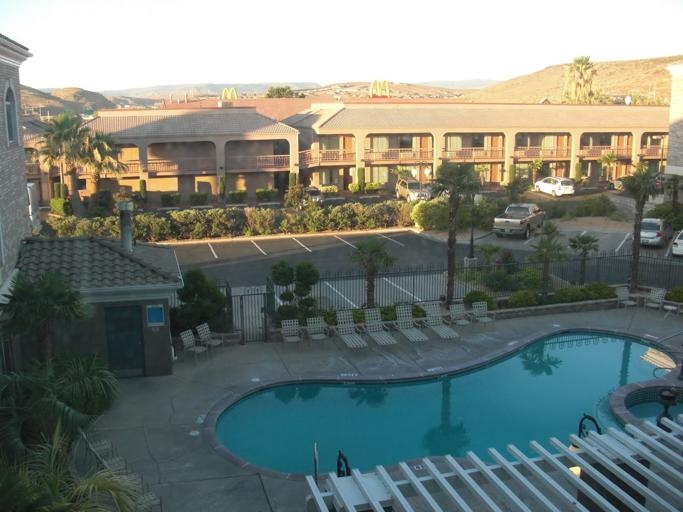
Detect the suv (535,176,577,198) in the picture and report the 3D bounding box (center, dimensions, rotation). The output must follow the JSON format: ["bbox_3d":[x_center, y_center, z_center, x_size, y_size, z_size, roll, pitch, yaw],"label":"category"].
[{"bbox_3d":[22.385,-7.244,56.381,1.823,2.006,3.469,-5,8,-26],"label":"suv"}]

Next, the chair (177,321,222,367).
[{"bbox_3d":[-5.396,3.252,20.318,1.277,1.078,1.685,2,8,23],"label":"chair"}]

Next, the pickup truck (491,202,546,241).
[{"bbox_3d":[12.894,-2.521,38.869,1.966,2.455,3.994,5,10,42],"label":"pickup truck"}]
